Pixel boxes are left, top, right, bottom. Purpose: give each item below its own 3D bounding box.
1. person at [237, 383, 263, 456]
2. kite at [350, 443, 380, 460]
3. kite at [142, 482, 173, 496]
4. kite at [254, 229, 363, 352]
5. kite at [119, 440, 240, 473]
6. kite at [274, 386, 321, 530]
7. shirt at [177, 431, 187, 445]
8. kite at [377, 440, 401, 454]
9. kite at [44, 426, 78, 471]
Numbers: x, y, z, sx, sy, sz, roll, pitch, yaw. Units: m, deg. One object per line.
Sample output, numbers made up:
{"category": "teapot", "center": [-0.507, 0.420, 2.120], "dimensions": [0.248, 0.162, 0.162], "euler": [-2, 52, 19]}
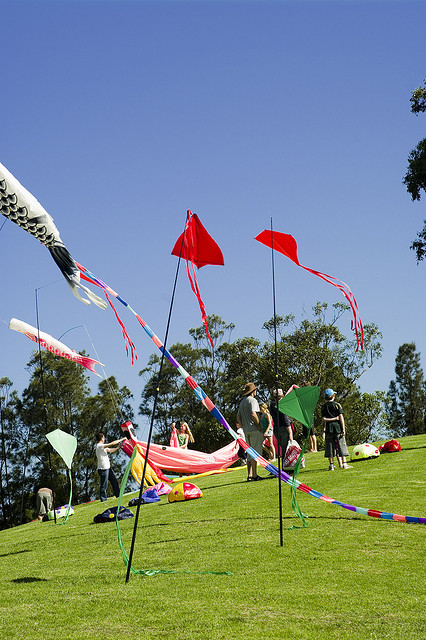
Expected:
{"category": "person", "center": [0.777, 2.051, 14.094], "dimensions": [0.485, 1.460, 0.963], "euler": [-10, -8, 1]}
{"category": "kite", "center": [3.556, 3.048, 15.704], "dimensions": [0.662, 0.303, 0.716], "euler": [-11, -9, 6]}
{"category": "kite", "center": [-1.245, 4.103, 16.509], "dimensions": [0.473, 0.185, 0.608], "euler": [0, -2, -8]}
{"category": "kite", "center": [1.632, -0.832, 11.788], "dimensions": [1.446, 2.316, 0.713], "euler": [-5, -47, -53]}
{"category": "kite", "center": [-0.655, 4.316, 21.299], "dimensions": [0.940, 1.127, 3.589], "euler": [-17, -12, 42]}
{"category": "kite", "center": [1.369, 1.916, 9.946], "dimensions": [0.715, 1.870, 2.245], "euler": [-11, -9, 6]}
{"category": "shirt", "center": [-1.044, 3.855, 22.081], "dimensions": [0.427, 0.422, 0.231], "euler": [11, -21, -30]}
{"category": "kite", "center": [4.382, 3.124, 16.739], "dimensions": [0.407, 0.252, 0.547], "euler": [3, -15, -31]}
{"category": "kite", "center": [-3.418, 2.802, 15.003], "dimensions": [0.236, 1.180, 0.623], "euler": [-27, -14, 37]}
